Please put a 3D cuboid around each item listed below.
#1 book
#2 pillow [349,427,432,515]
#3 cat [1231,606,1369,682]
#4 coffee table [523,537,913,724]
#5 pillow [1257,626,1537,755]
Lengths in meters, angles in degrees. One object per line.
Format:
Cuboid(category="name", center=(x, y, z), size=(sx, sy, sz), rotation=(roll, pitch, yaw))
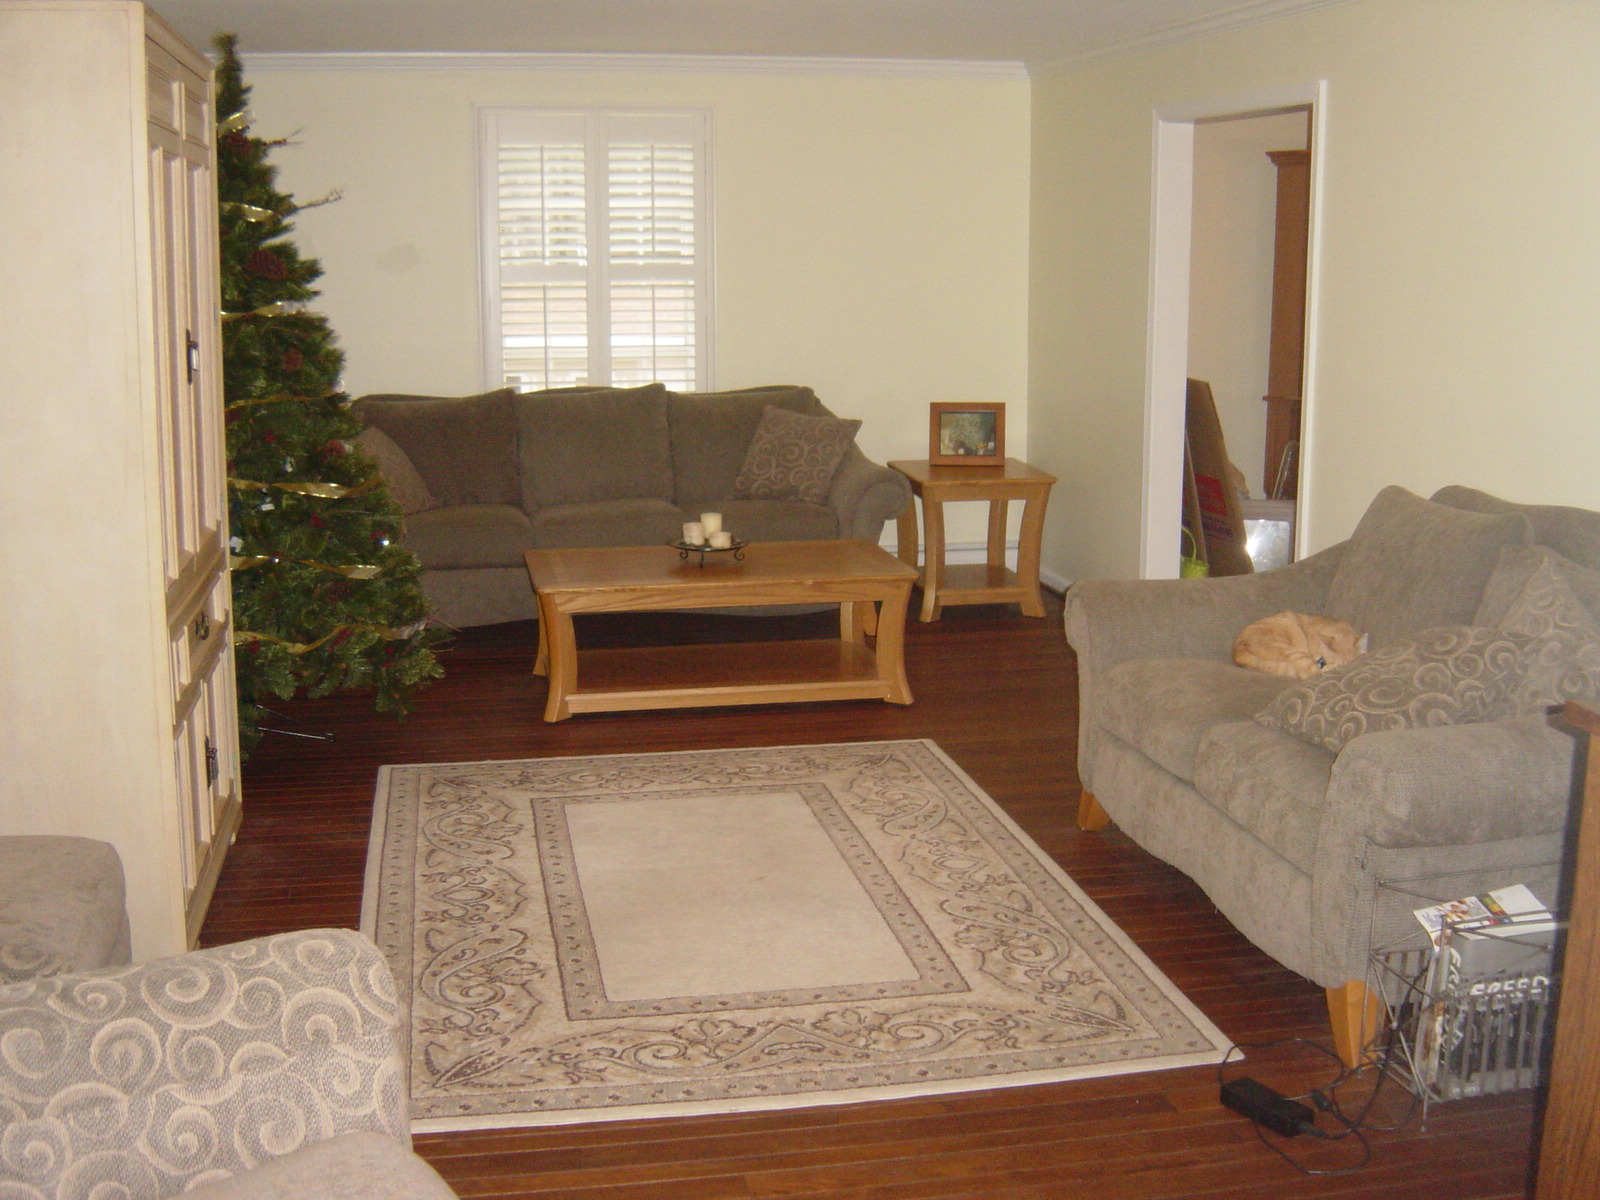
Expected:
Cuboid(category="book", center=(1.402, 0.673, 2.517), size=(0.239, 0.141, 0.228), rotation=(-7, 2, 18))
Cuboid(category="pillow", center=(-1.974, -0.647, 6.088), size=(0.294, 0.408, 0.415), rotation=(-7, 14, -25))
Cuboid(category="cat", center=(1.428, 0.125, 3.511), size=(0.201, 0.066, 0.229), rotation=(-26, 25, -32))
Cuboid(category="coffee table", center=(-0.332, 0.107, 5.129), size=(1.520, 0.605, 0.695), rotation=(-3, 13, -12))
Cuboid(category="pillow", center=(1.384, 0.222, 2.867), size=(0.588, 0.299, 0.315), rotation=(6, 14, 29))
